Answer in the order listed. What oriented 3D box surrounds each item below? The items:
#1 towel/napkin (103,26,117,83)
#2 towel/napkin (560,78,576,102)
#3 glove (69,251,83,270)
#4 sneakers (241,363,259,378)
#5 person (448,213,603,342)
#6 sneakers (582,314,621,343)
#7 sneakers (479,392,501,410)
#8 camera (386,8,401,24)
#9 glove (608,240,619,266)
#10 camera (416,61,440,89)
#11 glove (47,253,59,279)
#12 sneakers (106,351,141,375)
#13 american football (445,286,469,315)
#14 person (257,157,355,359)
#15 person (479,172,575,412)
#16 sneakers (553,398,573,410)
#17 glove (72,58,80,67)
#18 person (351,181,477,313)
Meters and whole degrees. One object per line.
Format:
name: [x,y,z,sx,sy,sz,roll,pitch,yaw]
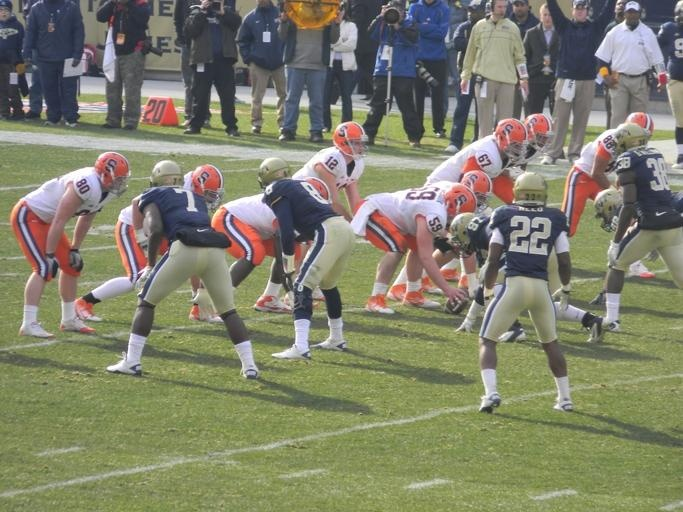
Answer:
towel/napkin: [-3.766,-3.245,19.961,0.189,0.896,0.649,3,5,-12]
towel/napkin: [3.295,-2.409,17.932,0.332,0.429,0.050,5,-13,-11]
glove: [-2.291,0.038,10.563,0.121,0.157,0.063,-26,3,-28]
sneakers: [-0.713,0.888,9.607,0.134,0.110,0.205,4,6,-3]
person: [1.374,0.220,10.389,1.796,1.061,0.681,6,4,8]
sneakers: [2.241,0.613,10.679,0.228,0.166,0.485,-7,-28,10]
sneakers: [1.106,1.069,9.125,0.154,0.151,0.160,5,5,7]
camera: [0.762,-3.590,18.485,0.245,0.216,0.220,3,5,-8]
glove: [2.422,-0.018,10.967,0.067,0.178,0.136,12,16,16]
camera: [1.371,-2.891,19.593,0.147,0.184,0.546,44,11,-48]
glove: [-2.466,0.087,10.468,0.097,0.222,0.185,4,5,-1]
sneakers: [-1.670,0.836,9.611,0.348,0.197,0.122,4,2,17]
american football: [1.048,0.442,11.189,0.144,0.244,0.187,40,19,-8]
person: [-0.286,0.102,10.213,0.657,1.442,0.471,0,6,-35]
person: [1.410,0.266,9.256,0.689,1.757,0.581,4,5,2]
sneakers: [1.654,1.099,9.184,0.060,0.069,0.158,-1,6,-25]
glove: [-4.259,-3.073,19.679,0.113,0.103,0.031,3,29,-26]
person: [0.681,-0.039,11.701,1.169,1.063,1.331,-1,1,27]
